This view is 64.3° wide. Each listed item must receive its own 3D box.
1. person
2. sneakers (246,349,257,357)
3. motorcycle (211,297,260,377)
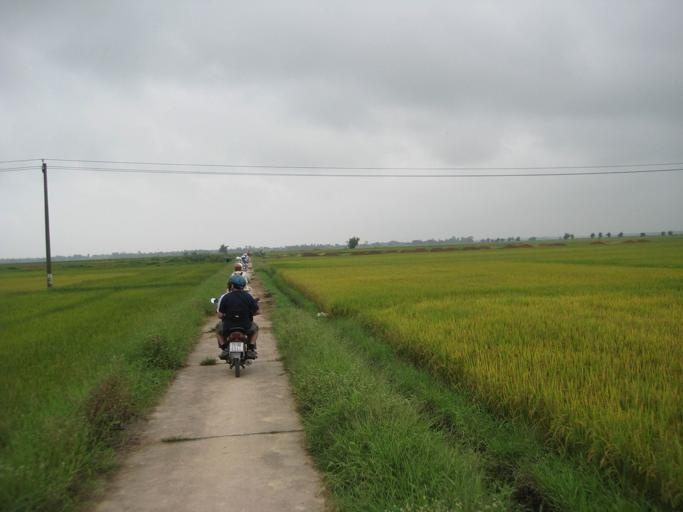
[{"bbox_3d":[-2.388,1.272,12.451,0.992,1.272,1.843,2,12,-6],"label":"person"},{"bbox_3d":[-2.056,2.217,12.366,0.174,0.188,0.192,7,-21,-20],"label":"sneakers"},{"bbox_3d":[-2.429,2.101,12.671,0.878,1.190,1.736,1,4,-8],"label":"motorcycle"}]
